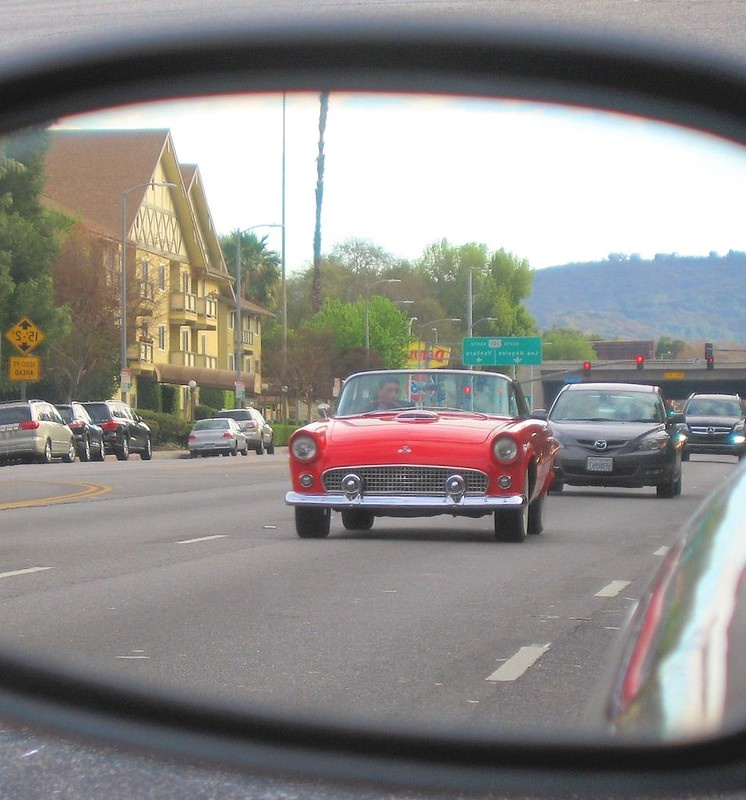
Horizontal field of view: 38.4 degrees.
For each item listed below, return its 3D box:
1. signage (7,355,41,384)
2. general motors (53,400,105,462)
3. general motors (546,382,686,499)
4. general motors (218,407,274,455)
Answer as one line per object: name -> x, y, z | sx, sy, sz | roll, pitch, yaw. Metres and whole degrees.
signage -> -3.495, -0.325, 10.694 | 0.330, 0.434, 0.052 | 0, 10, -9
general motors -> -7.846, 0.936, 29.178 | 0.806, 1.085, 2.264 | -1, 2, 9
general motors -> 2.805, 0.412, 12.544 | 1.159, 1.177, 2.601 | -1, -6, 11
general motors -> -5.024, 1.241, 43.471 | 1.178, 1.362, 3.053 | -1, 2, 9
